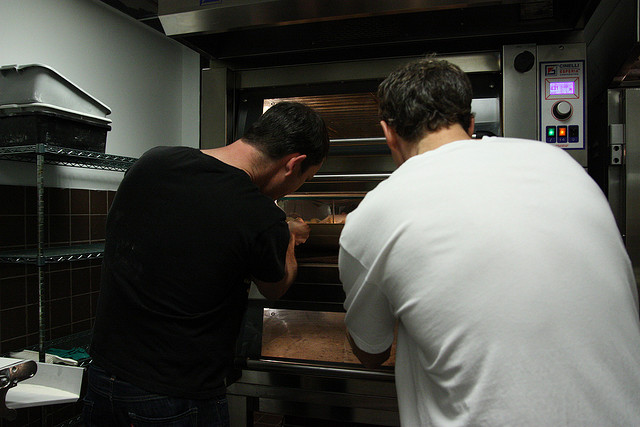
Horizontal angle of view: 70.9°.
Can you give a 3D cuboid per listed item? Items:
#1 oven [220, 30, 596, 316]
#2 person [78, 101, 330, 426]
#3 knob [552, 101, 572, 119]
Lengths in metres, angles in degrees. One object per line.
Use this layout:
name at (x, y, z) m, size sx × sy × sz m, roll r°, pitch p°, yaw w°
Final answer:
oven at (0.315, -0.155, 1.604) m, size 1.200 × 1.044 × 0.505 m, roll 2°, pitch 4°, yaw 21°
person at (-0.431, 0.181, 1.687) m, size 0.872 × 1.203 × 0.380 m, roll 0°, pitch 5°, yaw -1°
knob at (1.006, -0.426, 1.869) m, size 0.066 × 0.068 × 0.018 m, roll -2°, pitch 2°, yaw 6°
